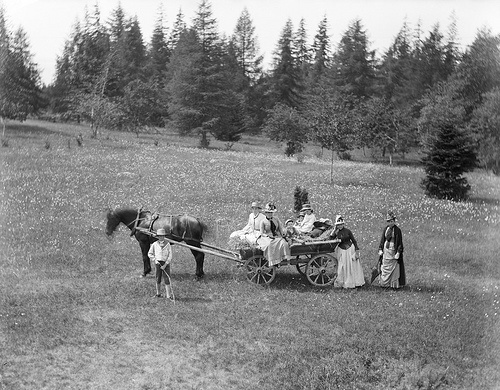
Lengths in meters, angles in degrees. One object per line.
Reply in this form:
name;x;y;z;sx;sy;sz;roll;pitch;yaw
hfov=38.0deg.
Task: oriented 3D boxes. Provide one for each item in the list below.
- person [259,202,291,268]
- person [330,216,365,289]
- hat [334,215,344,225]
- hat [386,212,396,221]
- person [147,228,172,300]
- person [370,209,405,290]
person;0.642;1.053;19.059;0.855;1.548;0.356;3;7;4
person;2.605;1.521;19.340;0.956;1.957;0.379;3;7;8
hat;2.391;0.682;19.246;0.243;0.160;0.259;2;6;22
hat;3.772;0.566;19.177;0.278;0.111;0.287;-14;7;41
person;-2.350;1.759;19.072;0.666;1.825;0.768;1;7;-8
person;3.755;1.471;19.331;0.935;2.033;0.404;4;7;14
